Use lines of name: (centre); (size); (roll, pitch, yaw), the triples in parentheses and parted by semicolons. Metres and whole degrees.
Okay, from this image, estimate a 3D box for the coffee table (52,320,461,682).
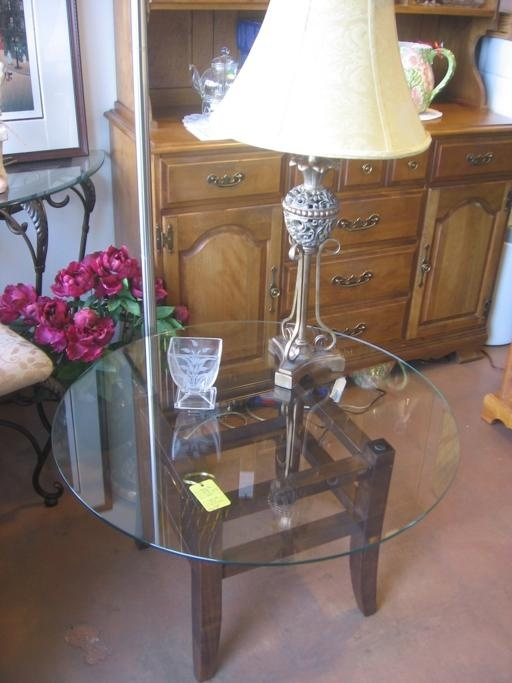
coffee table: (-0.059, 0.309, 1.263); (0.736, 0.457, 0.720); (-13, 42, -18)
